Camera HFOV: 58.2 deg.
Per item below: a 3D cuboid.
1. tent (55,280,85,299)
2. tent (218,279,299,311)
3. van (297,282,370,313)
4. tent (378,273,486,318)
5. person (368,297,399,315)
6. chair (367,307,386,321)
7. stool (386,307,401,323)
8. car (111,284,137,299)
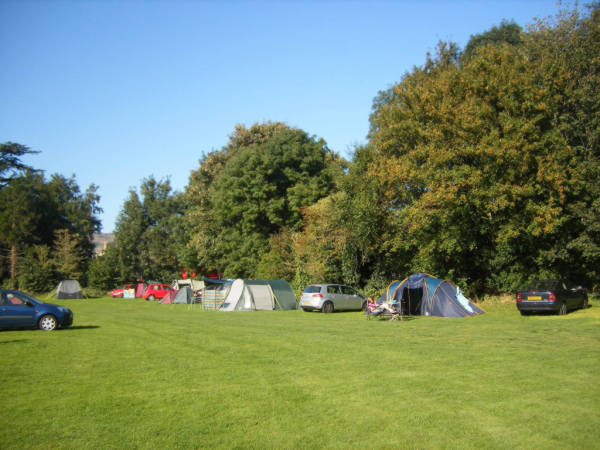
[{"bbox_3d":[-24.758,6.984,57.158,2.041,1.695,2.129,1,-4,-24],"label":"tent"},{"bbox_3d":[-2.599,4.869,36.603,3.341,1.469,2.736,6,-13,-28],"label":"tent"},{"bbox_3d":[2.134,4.637,34.022,3.171,1.440,1.952,1,-5,-26],"label":"van"},{"bbox_3d":[6.918,4.037,29.753,3.655,1.569,3.043,-4,-7,34],"label":"tent"},{"bbox_3d":[4.194,4.267,27.650,1.103,0.634,1.089,-1,-8,26],"label":"person"},{"bbox_3d":[3.984,4.645,27.934,0.830,1.134,0.667,-2,-6,20],"label":"chair"},{"bbox_3d":[4.819,4.616,27.499,0.607,0.712,0.562,-4,-6,29],"label":"stool"},{"bbox_3d":[-21.262,7.916,64.614,1.803,1.447,2.957,-6,-13,30],"label":"car"}]
